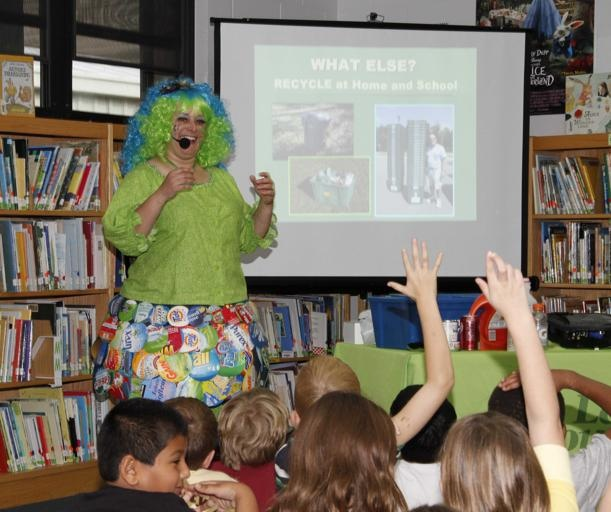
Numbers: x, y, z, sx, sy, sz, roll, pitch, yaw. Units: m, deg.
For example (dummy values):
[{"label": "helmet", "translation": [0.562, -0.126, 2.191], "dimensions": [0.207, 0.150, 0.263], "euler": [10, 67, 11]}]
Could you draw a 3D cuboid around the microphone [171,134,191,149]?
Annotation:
[{"label": "microphone", "translation": [-0.414, -0.387, 2.112], "dimensions": [0.041, 0.034, 0.011], "euler": [21, -31, 9]}]

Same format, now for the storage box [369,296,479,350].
[{"label": "storage box", "translation": [0.430, 0.208, 2.369], "dimensions": [0.289, 0.173, 0.218], "euler": [2, -4, -33]}]
